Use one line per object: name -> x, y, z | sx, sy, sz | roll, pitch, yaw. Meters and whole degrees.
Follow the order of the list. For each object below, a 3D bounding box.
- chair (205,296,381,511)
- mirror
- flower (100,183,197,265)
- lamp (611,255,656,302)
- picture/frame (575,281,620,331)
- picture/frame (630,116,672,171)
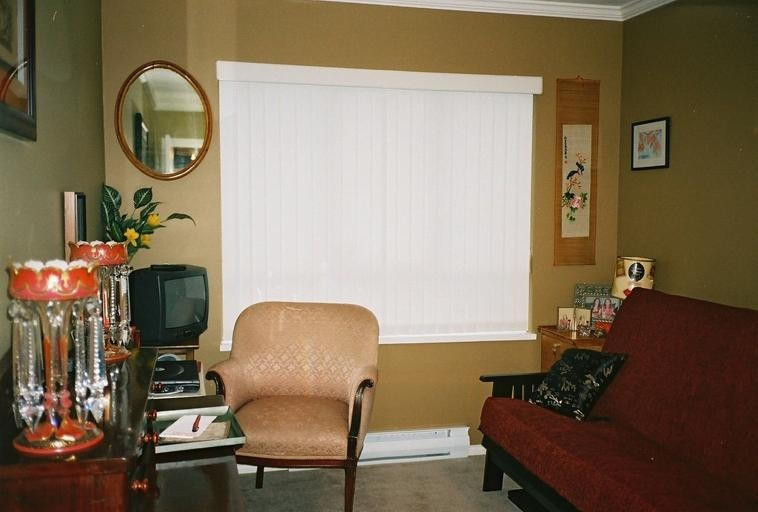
chair -> -0.542, 0.981, 4.171 | 1.159, 1.477, 1.175 | 1, -6, 0
mirror -> -1.599, -1.000, 4.242 | 0.792, 1.068, 0.075 | -2, 2, -22
flower -> -1.609, -0.215, 4.048 | 0.597, 0.532, 0.608 | -1, 4, -18
lamp -> 1.952, 0.169, 4.521 | 0.270, 0.321, 0.274 | 4, 8, -16
picture/frame -> 1.747, 0.407, 4.696 | 0.333, 0.331, 0.084 | -1, -14, 28
picture/frame -> 2.123, -0.873, 4.566 | 0.034, 0.530, 0.442 | -1, 2, -28
